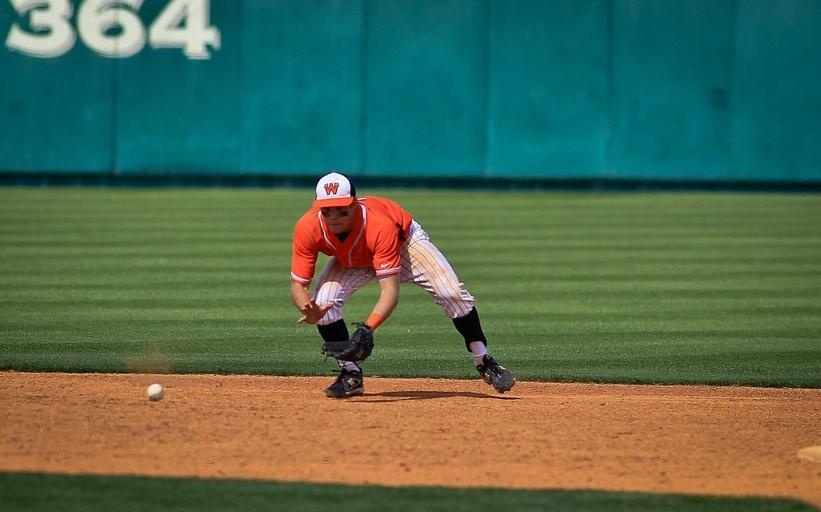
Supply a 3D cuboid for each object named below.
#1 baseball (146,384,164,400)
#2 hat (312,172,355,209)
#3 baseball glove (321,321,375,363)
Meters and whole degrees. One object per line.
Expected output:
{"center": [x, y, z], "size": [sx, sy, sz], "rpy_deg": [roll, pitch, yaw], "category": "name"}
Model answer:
{"center": [-2.992, 1.575, 15.927], "size": [0.199, 0.218, 0.157], "rpy_deg": [4, -31, -10], "category": "baseball"}
{"center": [-0.877, -0.751, 15.608], "size": [0.465, 0.465, 0.278], "rpy_deg": [-2, -30, -1], "category": "hat"}
{"center": [-0.697, 0.943, 15.583], "size": [0.632, 0.394, 0.226], "rpy_deg": [5, 14, -27], "category": "baseball glove"}
